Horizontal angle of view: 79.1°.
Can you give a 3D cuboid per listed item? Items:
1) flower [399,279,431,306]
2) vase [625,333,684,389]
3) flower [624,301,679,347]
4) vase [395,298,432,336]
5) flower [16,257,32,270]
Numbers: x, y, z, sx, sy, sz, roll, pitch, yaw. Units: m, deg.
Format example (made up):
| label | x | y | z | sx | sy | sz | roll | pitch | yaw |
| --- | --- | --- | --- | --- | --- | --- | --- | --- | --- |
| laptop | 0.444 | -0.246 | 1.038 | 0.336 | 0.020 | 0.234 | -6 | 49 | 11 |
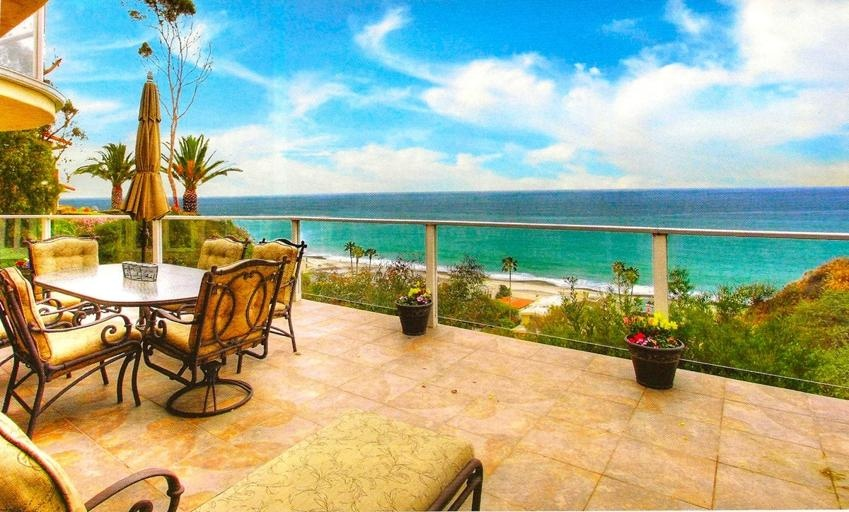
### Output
| label | x | y | z | sx | sy | sz | roll | pitch | yaw |
| --- | --- | --- | --- | --- | --- | --- | --- | --- | --- |
| flower | -0.132 | 0.461 | 6.650 | 0.382 | 0.224 | 0.339 | 0 | 16 | 4 |
| vase | 2.385 | 1.092 | 5.429 | 0.577 | 0.371 | 0.528 | -1 | 4 | 2 |
| flower | 2.432 | 0.728 | 5.485 | 0.415 | 0.282 | 0.507 | 5 | 5 | 36 |
| vase | -0.138 | 0.783 | 6.479 | 0.473 | 0.305 | 0.435 | 0 | -4 | -5 |
| flower | -5.522 | 0.102 | 7.058 | 0.159 | 0.080 | 0.147 | 14 | -10 | -1 |
